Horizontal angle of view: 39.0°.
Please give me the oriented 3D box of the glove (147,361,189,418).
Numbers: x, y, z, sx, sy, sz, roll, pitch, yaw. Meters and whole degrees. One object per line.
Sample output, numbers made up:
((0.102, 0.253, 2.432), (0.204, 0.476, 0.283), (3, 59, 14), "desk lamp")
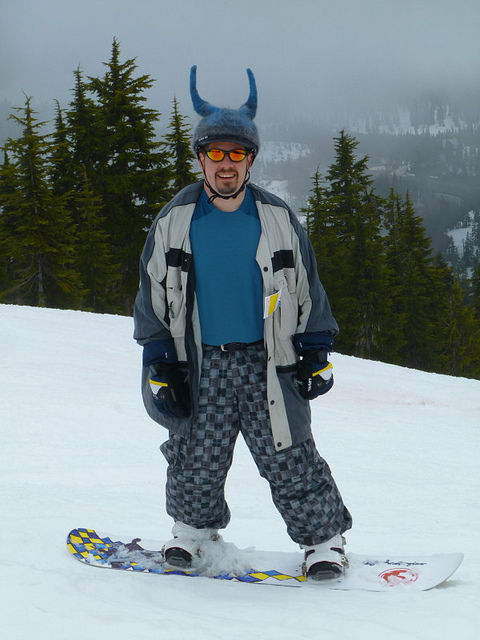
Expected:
((-0.362, 0.355, 3.527), (0.160, 0.263, 0.216), (4, 7, -41), "glove")

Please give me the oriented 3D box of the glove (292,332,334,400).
((0.395, 0.208, 3.690), (0.252, 0.439, 0.316), (0, 5, -2), "glove")

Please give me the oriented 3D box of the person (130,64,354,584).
((0.045, 0.047, 3.566), (1.276, 2.638, 0.333), (9, 5, 4), "person")

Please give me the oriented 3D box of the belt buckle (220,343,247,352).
((-0.028, 0.143, 3.488), (0.131, 0.057, 0.023), (7, 5, 0), "belt buckle")

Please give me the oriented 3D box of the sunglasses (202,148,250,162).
((-0.073, -0.833, 3.460), (0.238, 0.082, 0.104), (7, 5, -4), "sunglasses")

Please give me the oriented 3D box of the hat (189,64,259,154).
((-0.067, -1.070, 3.450), (0.407, 0.437, 0.324), (8, 5, -5), "hat")
